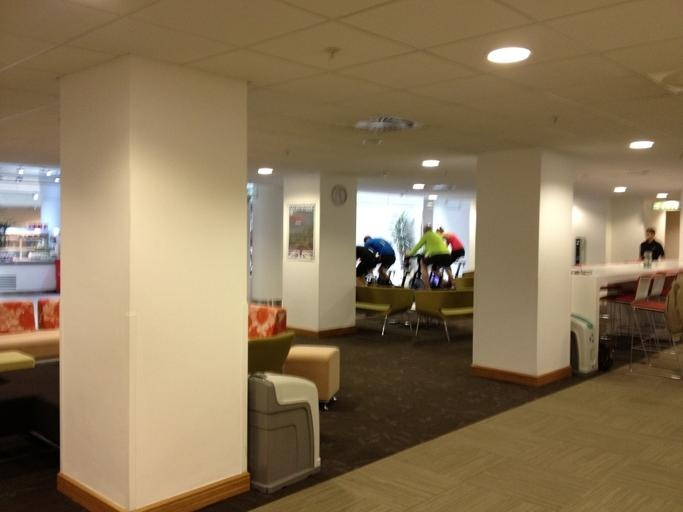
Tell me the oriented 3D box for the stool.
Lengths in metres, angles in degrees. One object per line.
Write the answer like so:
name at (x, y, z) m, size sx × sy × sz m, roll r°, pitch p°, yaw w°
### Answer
stool at (-0.254, 1.449, 6.333) m, size 0.576 × 0.731 × 0.686 m, roll 1°, pitch -1°, yaw -39°

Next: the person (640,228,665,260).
person at (7.465, -0.294, 12.376) m, size 0.465 × 0.807 × 2.863 m, roll 3°, pitch 4°, yaw 31°
